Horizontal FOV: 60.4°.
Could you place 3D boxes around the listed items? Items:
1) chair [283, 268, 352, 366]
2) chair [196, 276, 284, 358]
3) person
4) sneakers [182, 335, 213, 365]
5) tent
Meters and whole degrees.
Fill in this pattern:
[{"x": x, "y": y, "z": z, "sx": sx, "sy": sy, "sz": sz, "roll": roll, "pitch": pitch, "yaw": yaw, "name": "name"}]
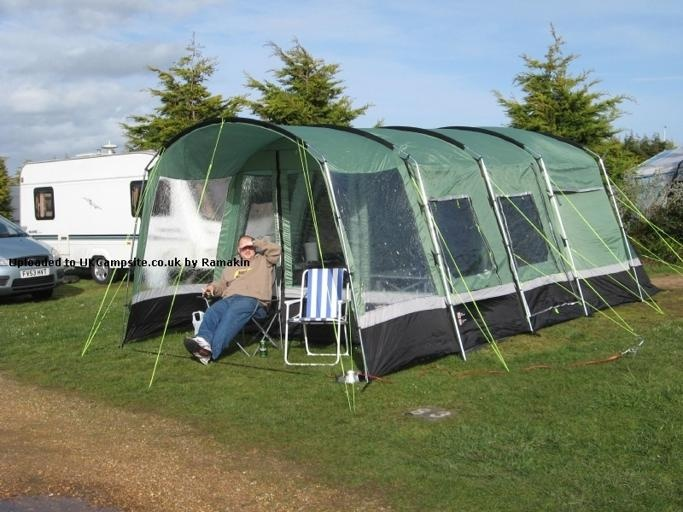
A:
[{"x": -0.274, "y": 0.745, "z": 7.404, "sx": 0.917, "sy": 1.090, "sz": 0.979, "roll": 0, "pitch": 4, "yaw": 36, "name": "chair"}, {"x": -1.538, "y": 0.774, "z": 7.723, "sx": 0.827, "sy": 0.339, "sz": 1.179, "roll": 9, "pitch": 29, "yaw": 27, "name": "chair"}, {"x": -1.482, "y": 0.483, "z": 7.717, "sx": 1.081, "sy": 1.038, "sz": 1.942, "roll": 3, "pitch": 23, "yaw": 19, "name": "person"}, {"x": -1.764, "y": 1.142, "z": 7.371, "sx": 0.230, "sy": 0.429, "sz": 0.200, "roll": -17, "pitch": 28, "yaw": 33, "name": "sneakers"}, {"x": 0.917, "y": -0.413, "z": 8.327, "sx": 7.752, "sy": 3.086, "sz": 3.096, "roll": -6, "pitch": 12, "yaw": -20, "name": "tent"}]
